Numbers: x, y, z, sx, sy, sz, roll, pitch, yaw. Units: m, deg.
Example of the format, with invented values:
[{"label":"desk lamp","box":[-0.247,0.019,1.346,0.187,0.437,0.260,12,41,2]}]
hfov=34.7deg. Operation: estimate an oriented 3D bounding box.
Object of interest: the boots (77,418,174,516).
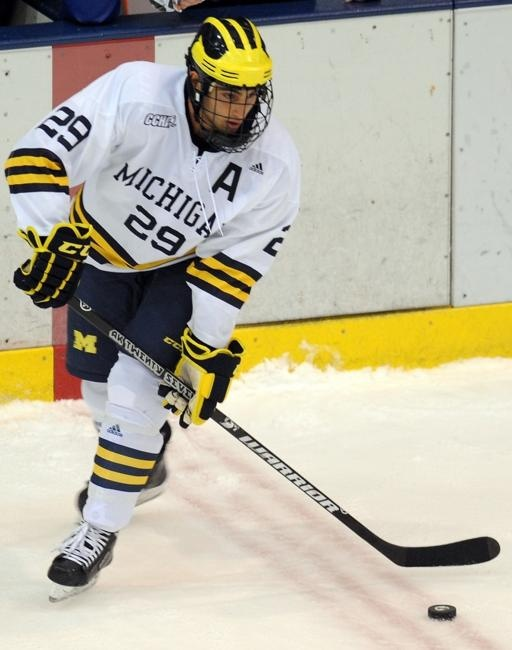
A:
[{"label":"boots","box":[-0.322,0.365,2.056,0.103,0.276,0.203,32,0,1]}]

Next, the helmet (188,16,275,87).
[{"label":"helmet","box":[-0.057,-0.584,1.714,0.168,0.117,0.200,-8,43,-23]}]

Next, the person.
[{"label":"person","box":[-0.296,-0.054,1.866,0.536,1.011,0.486,20,7,9]}]
